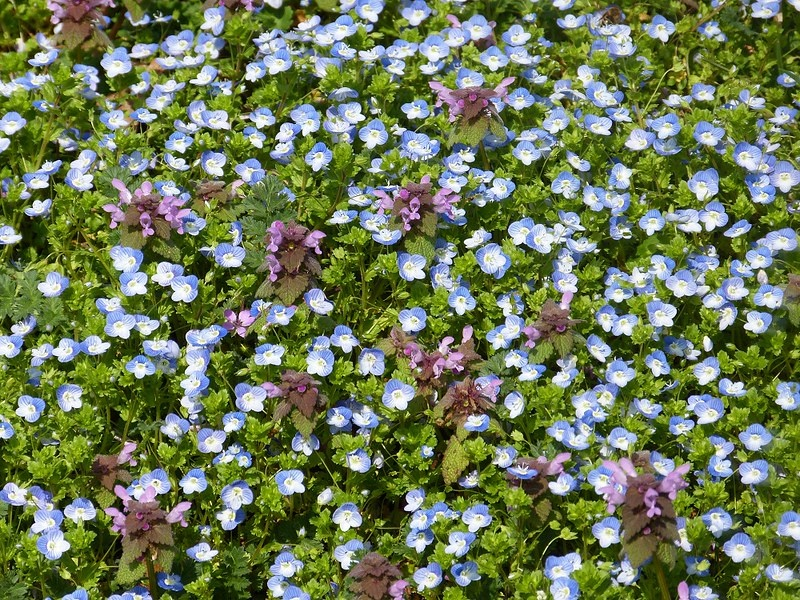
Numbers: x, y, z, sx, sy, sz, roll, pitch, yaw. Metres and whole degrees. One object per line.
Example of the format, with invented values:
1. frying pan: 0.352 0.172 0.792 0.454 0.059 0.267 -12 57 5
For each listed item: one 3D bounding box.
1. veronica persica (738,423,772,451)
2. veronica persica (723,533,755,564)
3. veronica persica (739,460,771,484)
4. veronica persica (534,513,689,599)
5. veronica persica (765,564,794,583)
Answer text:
1. veronica persica: 2.010 0.769 5.006 0.163 0.069 0.145 -29 72 -13
2. veronica persica: 1.854 1.338 4.881 0.138 0.055 0.169 14 88 2
3. veronica persica: 1.984 0.959 4.964 0.164 0.121 0.122 -12 68 -7
4. veronica persica: 1.123 1.354 4.645 0.671 0.507 0.469 -9 67 -6
5. veronica persica: 2.062 1.469 4.809 0.110 0.060 0.115 20 58 19
